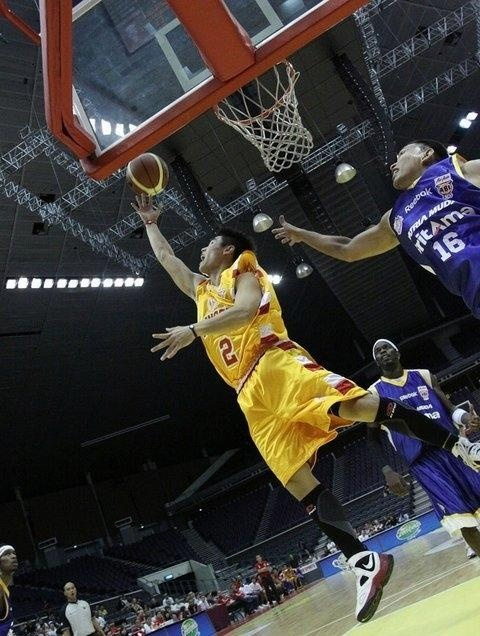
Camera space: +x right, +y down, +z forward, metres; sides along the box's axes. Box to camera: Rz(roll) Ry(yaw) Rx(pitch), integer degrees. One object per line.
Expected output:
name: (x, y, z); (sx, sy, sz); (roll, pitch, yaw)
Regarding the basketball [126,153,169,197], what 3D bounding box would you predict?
basketball: (-0.669, -1.060, 3.402); (0.270, 0.290, 0.259); (-18, -13, -26)
